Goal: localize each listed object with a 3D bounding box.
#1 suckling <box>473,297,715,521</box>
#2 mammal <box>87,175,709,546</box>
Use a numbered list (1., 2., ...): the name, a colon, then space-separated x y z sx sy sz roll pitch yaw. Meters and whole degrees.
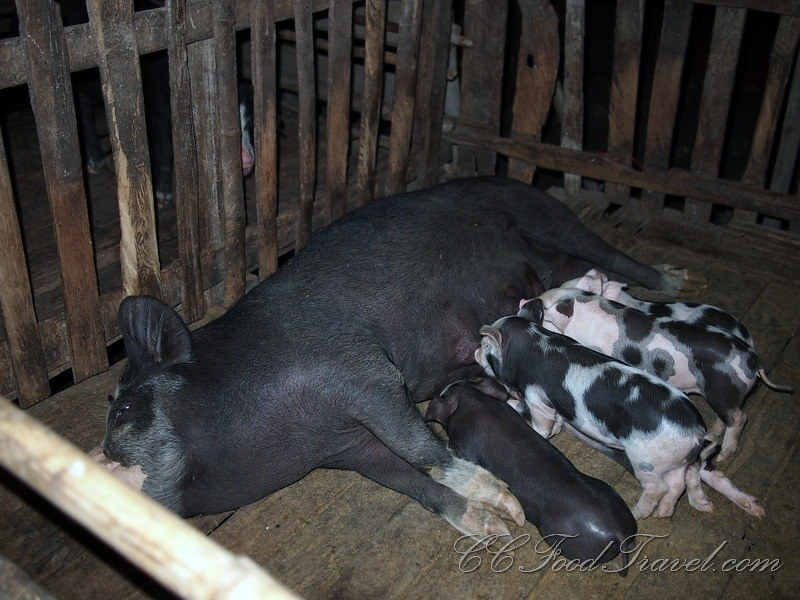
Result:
1. suckling: 0.873 0.517 3.093 0.264 0.500 0.995 -38 53 -24
2. mammal: 0.067 0.162 3.872 1.701 1.033 3.366 24 36 25
